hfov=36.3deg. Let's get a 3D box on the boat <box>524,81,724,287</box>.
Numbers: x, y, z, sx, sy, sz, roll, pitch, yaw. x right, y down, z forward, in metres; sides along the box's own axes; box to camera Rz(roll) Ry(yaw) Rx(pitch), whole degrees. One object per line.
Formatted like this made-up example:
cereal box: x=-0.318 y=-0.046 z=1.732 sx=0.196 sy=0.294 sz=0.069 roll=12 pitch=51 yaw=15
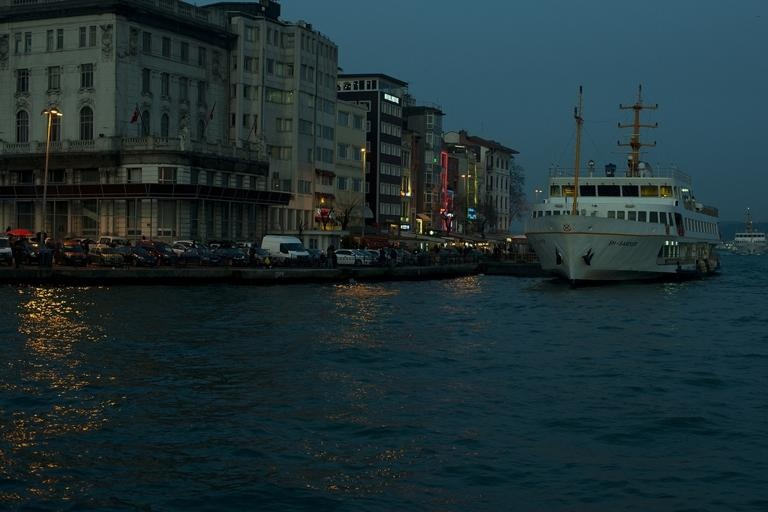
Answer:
boat: x=16.216 y=-2.743 z=92.422 sx=11.394 sy=14.838 sz=33.755 roll=-1 pitch=-5 yaw=32
